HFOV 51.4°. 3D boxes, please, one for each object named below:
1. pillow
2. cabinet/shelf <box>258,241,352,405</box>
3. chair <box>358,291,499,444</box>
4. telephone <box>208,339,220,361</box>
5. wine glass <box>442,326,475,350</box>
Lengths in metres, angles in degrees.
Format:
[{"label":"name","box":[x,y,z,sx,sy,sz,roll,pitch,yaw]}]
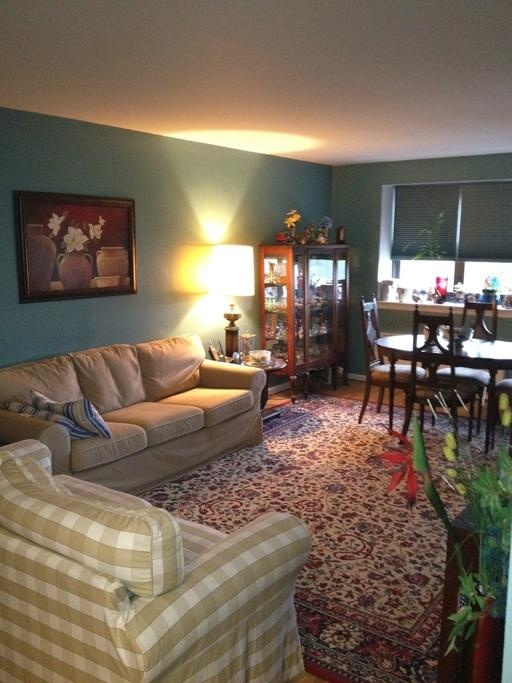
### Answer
[{"label":"pillow","box":[-1.178,0.452,3.122,0.588,0.283,0.187,0,9,6]},{"label":"cabinet/shelf","box":[0.495,-0.224,5.689,0.609,2.158,1.592,6,12,35]},{"label":"chair","box":[1.510,0.228,4.549,1.060,1.518,1.023,13,22,38]},{"label":"telephone","box":[-0.399,0.078,5.018,0.085,0.044,0.196,9,25,-17]},{"label":"wine glass","box":[1.685,-0.063,4.410,0.262,0.179,0.254,1,7,7]}]
